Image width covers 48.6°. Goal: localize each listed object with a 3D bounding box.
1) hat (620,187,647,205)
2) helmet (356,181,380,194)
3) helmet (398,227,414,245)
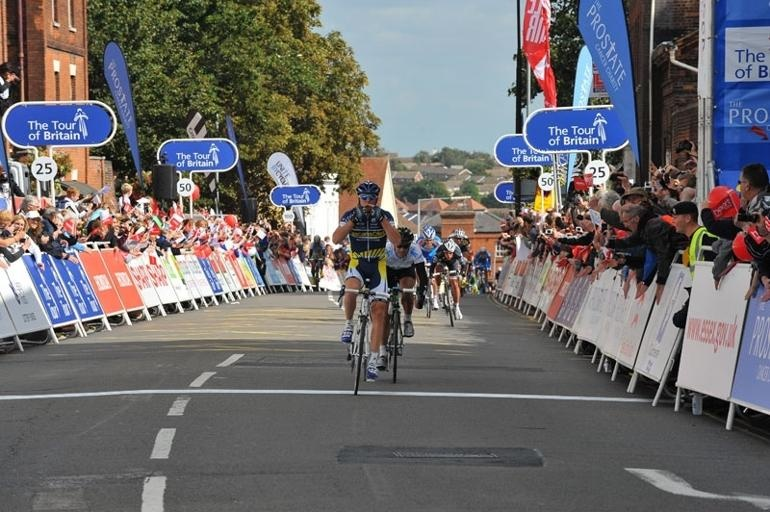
[{"bbox_3d":[3.522,-0.887,12.090,0.338,0.194,0.251,17,-18,-29],"label":"hat"},{"bbox_3d":[-0.221,-0.875,10.963,0.238,0.160,0.531,-2,14,3],"label":"helmet"},{"bbox_3d":[0.275,-0.273,11.719,0.249,0.137,0.367,4,1,6],"label":"helmet"}]
